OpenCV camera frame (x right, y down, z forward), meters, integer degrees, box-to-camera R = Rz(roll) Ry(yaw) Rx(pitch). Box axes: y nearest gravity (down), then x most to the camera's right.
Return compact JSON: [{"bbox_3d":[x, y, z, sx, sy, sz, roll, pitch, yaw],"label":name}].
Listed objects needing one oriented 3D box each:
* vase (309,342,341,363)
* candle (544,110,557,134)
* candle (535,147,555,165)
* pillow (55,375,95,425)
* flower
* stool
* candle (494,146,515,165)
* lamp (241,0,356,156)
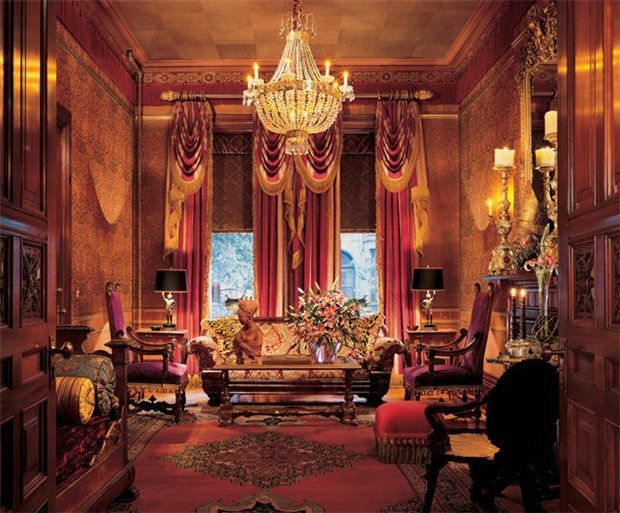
[{"bbox_3d":[0.143,0.926,5.143,0.190,0.150,0.200,0,-8,-5],"label":"vase"},{"bbox_3d":[2.150,-1.204,4.696,0.063,0.254,0.293,0,-2,11],"label":"candle"},{"bbox_3d":[2.170,-0.919,4.875,0.027,0.197,0.253,1,-2,-15],"label":"candle"},{"bbox_3d":[-1.332,0.813,2.986,0.195,0.278,0.131,1,-3,-29],"label":"pillow"},{"bbox_3d":[0.169,0.699,5.536,0.824,0.940,0.872,0,-8,2],"label":"flower"},{"bbox_3d":[0.692,1.303,4.199,0.536,0.443,0.563,-1,-3,1],"label":"stool"},{"bbox_3d":[1.991,-1.019,5.425,0.213,0.221,0.221,0,0,30],"label":"candle"},{"bbox_3d":[-0.195,-1.933,5.596,0.939,1.853,1.808,0,-2,-7],"label":"lamp"}]
